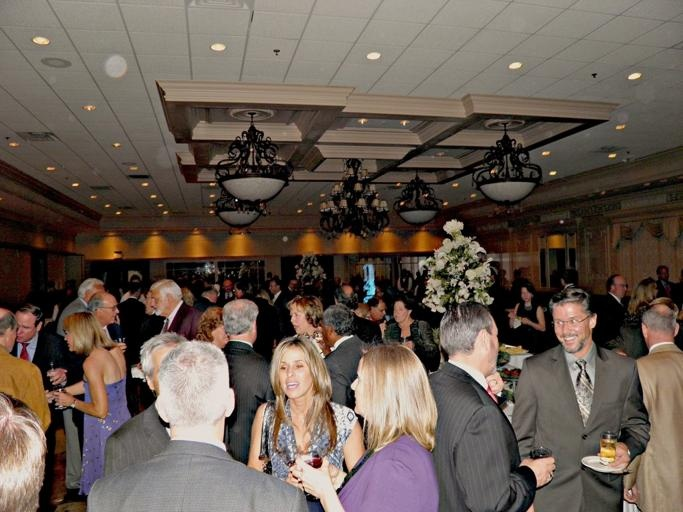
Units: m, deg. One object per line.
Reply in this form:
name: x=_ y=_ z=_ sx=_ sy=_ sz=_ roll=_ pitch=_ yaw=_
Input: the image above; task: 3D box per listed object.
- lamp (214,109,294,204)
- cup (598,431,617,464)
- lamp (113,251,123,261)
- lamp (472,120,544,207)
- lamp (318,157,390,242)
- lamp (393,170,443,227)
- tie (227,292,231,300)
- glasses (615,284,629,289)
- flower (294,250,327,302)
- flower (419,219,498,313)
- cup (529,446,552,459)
lamp: x=-1.080 y=-1.286 z=6.054 sx=0.930 sy=1.136 sz=0.817 roll=-1 pitch=5 yaw=-6
cup: x=1.534 y=1.105 z=2.870 sx=0.079 sy=0.159 sz=0.074 roll=-1 pitch=-6 yaw=0
lamp: x=-8.178 y=-0.009 z=18.385 sx=0.354 sy=0.232 sz=0.328 roll=-1 pitch=-10 yaw=1
lamp: x=2.241 y=-1.329 z=6.763 sx=0.867 sy=1.204 sz=0.783 roll=0 pitch=-5 yaw=1
lamp: x=0.205 y=-1.087 z=9.356 sx=1.191 sy=1.466 sz=1.347 roll=-2 pitch=-6 yaw=7
lamp: x=1.384 y=-1.275 z=9.439 sx=0.903 sy=1.383 sz=0.860 roll=-13 pitch=15 yaw=-40
tie: x=-2.890 y=1.027 z=12.808 sx=0.094 sy=0.114 sz=0.030 roll=-4 pitch=-32 yaw=0
glasses: x=3.986 y=0.431 z=7.139 sx=0.183 sy=0.052 sz=0.177 roll=11 pitch=-9 yaw=-10
flower: x=-0.901 y=0.497 z=13.789 sx=0.826 sy=1.602 sz=0.822 roll=-20 pitch=-44 yaw=22
flower: x=1.182 y=0.180 z=5.032 sx=0.698 sy=0.801 sz=0.672 roll=-6 pitch=-1 yaw=11
cup: x=1.068 y=1.058 z=2.693 sx=0.101 sy=0.047 sz=0.145 roll=-2 pitch=-7 yaw=9
